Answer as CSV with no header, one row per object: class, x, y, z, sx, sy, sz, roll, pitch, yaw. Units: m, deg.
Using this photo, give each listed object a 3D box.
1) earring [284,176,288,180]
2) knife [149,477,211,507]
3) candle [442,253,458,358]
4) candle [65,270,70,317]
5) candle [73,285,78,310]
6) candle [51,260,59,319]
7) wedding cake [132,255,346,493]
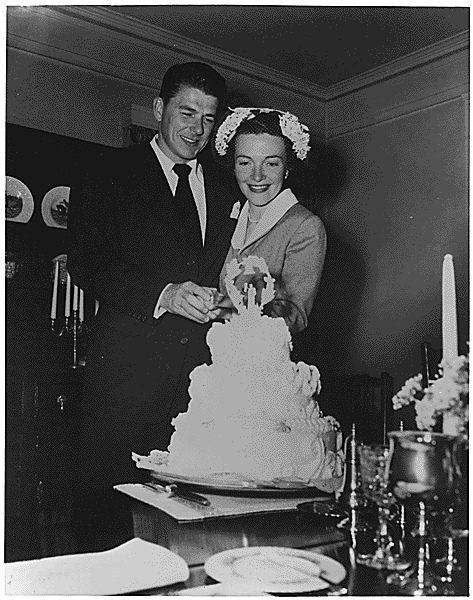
earring,0.164,-0.409,2.076,0.013,0.012,0.005,6,-10,-22
knife,-0.183,0.604,1.941,0.128,0.022,0.031,19,15,4
candle,0.699,0.017,2.045,0.047,0.338,0.047,-1,-10,18
candle,-0.538,-0.017,1.982,0.017,0.141,0.007,4,-10,-16
candle,-0.515,-0.006,1.987,0.016,0.077,0.006,5,-10,-19
candle,-0.578,-0.032,1.975,0.017,0.186,0.011,7,-10,-29
wedding cake,0.021,0.241,2.189,0.643,0.632,0.603,2,1,0
